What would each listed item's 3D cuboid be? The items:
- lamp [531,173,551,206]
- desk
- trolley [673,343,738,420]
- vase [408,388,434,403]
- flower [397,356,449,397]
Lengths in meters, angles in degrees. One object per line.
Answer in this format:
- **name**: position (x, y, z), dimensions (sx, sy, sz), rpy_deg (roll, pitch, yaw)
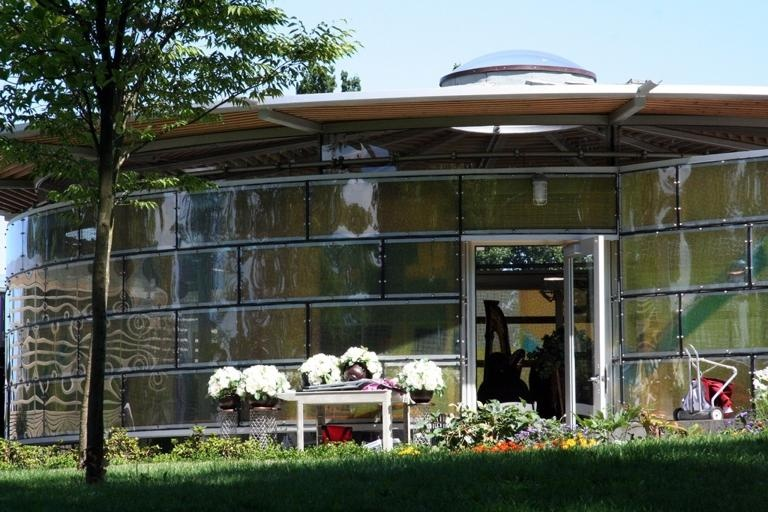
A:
- **lamp**: position (3.244, -1.377, 36.690), dimensions (0.339, 0.622, 0.233), rpy_deg (-2, -7, 4)
- **desk**: position (-0.708, 3.374, 35.942), dimensions (1.919, 1.373, 1.536), rpy_deg (-2, 1, 6)
- **trolley**: position (6.758, 2.613, 35.822), dimensions (1.419, 1.968, 1.435), rpy_deg (4, -4, -29)
- **vase**: position (0.751, 2.848, 35.825), dimensions (0.335, 0.189, 0.325), rpy_deg (8, -14, -35)
- **flower**: position (0.773, 2.457, 35.812), dimensions (0.730, 0.495, 0.749), rpy_deg (-2, -7, 25)
